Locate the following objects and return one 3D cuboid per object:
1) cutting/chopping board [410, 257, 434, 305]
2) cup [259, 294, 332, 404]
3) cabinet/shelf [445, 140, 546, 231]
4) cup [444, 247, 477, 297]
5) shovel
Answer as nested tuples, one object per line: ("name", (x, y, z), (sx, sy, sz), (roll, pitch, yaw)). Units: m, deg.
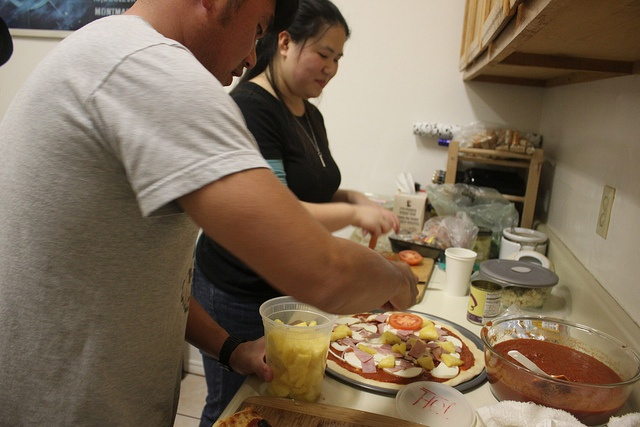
("cutting/chopping board", (0.392, 0.263, 1.692), (0.068, 0.009, 0.211), (6, 26, 20))
("cup", (-0.056, 0.371, 1.209), (0.209, 0.224, 0.206), (0, 2, 0))
("cabinet/shelf", (0.936, -0.203, 2.480), (0.476, 0.451, 0.471), (6, 15, 7))
("cup", (0.572, 0.237, 1.799), (0.112, 0.181, 0.125), (6, 19, 26))
("shovel", (0.562, 0.397, 1.148), (0.044, 0.030, 0.183), (-6, 12, -22))
